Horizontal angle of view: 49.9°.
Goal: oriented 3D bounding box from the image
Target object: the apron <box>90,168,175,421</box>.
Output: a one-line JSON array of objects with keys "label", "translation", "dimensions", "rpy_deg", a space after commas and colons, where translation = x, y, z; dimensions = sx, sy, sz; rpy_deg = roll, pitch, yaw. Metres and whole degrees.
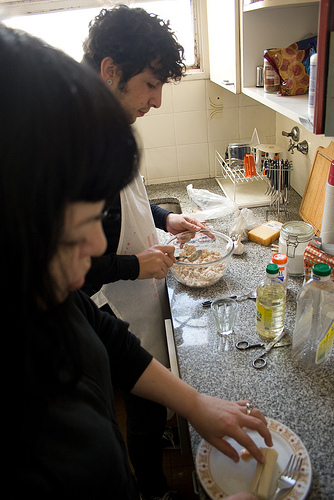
[{"label": "apron", "translation": [-0.088, 0.291, 1.525], "dimensions": [0.209, 1.166, 0.466], "rpy_deg": [2, 24, 17]}]

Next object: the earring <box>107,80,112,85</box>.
[{"label": "earring", "translation": [-0.182, -0.529, 1.134], "dimensions": [0.014, 0.013, 0.005], "rpy_deg": [-8, 23, -5]}]

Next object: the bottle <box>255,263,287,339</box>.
[{"label": "bottle", "translation": [0.295, 0.142, 1.025], "dimensions": [0.074, 0.207, 0.079], "rpy_deg": [-4, 22, 1]}]

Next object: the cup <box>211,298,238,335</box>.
[{"label": "cup", "translation": [0.169, 0.205, 1.136], "dimensions": [0.084, 0.101, 0.090], "rpy_deg": [-3, 25, 1]}]

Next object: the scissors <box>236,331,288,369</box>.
[{"label": "scissors", "translation": [0.278, 0.273, 0.991], "dimensions": [0.158, 0.014, 0.120], "rpy_deg": [-8, 25, -4]}]
